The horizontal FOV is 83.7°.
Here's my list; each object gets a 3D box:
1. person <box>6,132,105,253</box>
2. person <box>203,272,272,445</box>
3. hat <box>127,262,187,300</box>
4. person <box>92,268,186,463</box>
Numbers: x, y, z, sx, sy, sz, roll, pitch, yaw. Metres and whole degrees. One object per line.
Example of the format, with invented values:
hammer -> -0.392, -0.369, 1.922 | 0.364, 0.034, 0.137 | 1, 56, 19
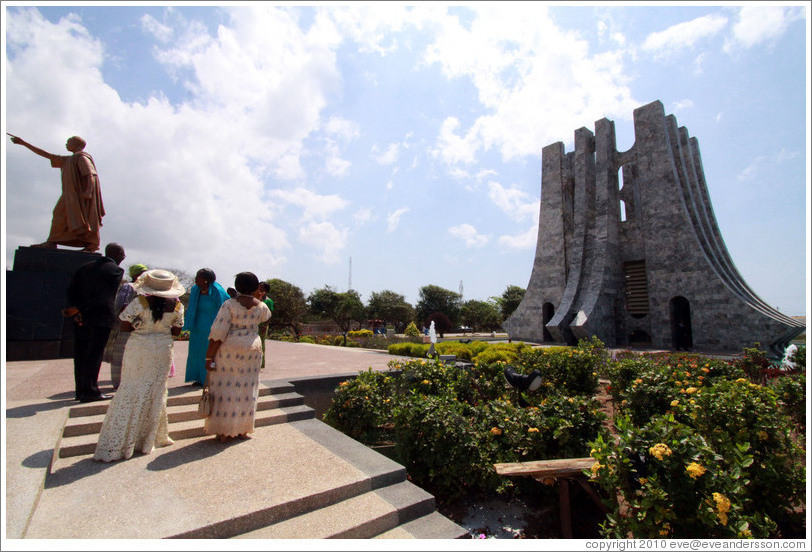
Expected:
person -> -7.078, -1.675, 9.723 | 1.051, 2.233, 1.361 | 10, -9, -36
person -> -2.351, 1.083, 6.302 | 0.735, 2.227, 0.342 | 7, -7, -21
hat -> -3.430, 0.105, 6.152 | 0.421, 0.143, 0.414 | 16, 18, -20
person -> -3.451, 1.161, 6.049 | 0.841, 2.528, 0.348 | 9, -8, -33
